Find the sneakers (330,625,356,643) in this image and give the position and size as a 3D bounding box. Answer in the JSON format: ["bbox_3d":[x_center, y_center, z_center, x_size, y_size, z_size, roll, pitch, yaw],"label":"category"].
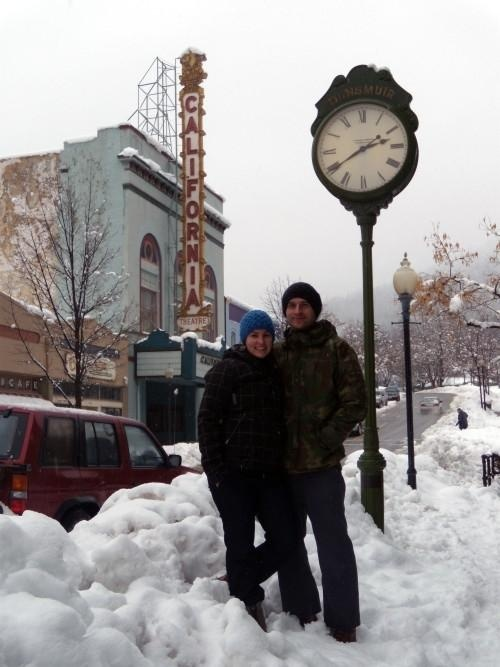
[{"bbox_3d":[0.476,1.746,4.212,0.149,0.082,0.134,-2,-5,6],"label":"sneakers"}]

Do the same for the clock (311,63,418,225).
[{"bbox_3d":[0.978,-1.852,7.010,0.927,1.401,0.422,-1,-5,4],"label":"clock"}]

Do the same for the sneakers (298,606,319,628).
[{"bbox_3d":[0.298,1.694,4.349,0.068,0.115,0.116,-5,-30,0],"label":"sneakers"}]

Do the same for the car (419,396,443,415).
[{"bbox_3d":[12.256,5.332,53.715,1.081,0.870,2.513,0,6,15],"label":"car"}]

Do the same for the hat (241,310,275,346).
[{"bbox_3d":[0.006,-0.033,4.463,0.190,0.199,0.199,0,-9,-11],"label":"hat"}]

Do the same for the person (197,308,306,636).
[{"bbox_3d":[-0.052,0.754,4.226,0.553,1.824,0.383,1,-6,-17],"label":"person"}]

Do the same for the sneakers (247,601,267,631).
[{"bbox_3d":[0.024,1.598,4.044,0.064,0.202,0.078,-10,16,21],"label":"sneakers"}]
